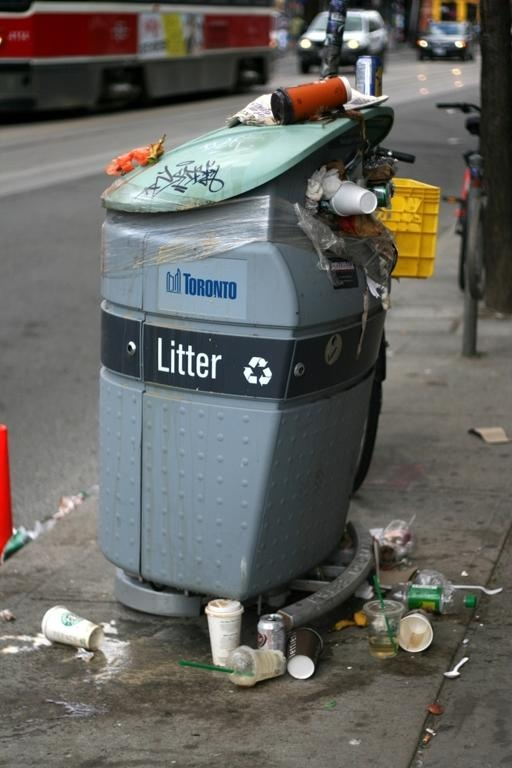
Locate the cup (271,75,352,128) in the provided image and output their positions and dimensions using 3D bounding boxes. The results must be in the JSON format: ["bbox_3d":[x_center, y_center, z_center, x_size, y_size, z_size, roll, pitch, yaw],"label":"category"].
[{"bbox_3d":[0.188,-0.901,2.809,0.294,0.119,0.126,-17,30,-29],"label":"cup"}]

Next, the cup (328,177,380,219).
[{"bbox_3d":[0.312,-0.566,2.805,0.141,0.117,0.122,12,-21,28],"label":"cup"}]

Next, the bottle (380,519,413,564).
[{"bbox_3d":[0.573,0.653,3.632,0.118,0.150,0.062,13,-2,36],"label":"bottle"}]

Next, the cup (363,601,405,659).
[{"bbox_3d":[0.416,0.799,2.878,0.176,0.168,0.161,-1,-8,0],"label":"cup"}]

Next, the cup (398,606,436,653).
[{"bbox_3d":[0.527,0.795,2.873,0.117,0.114,0.089,3,13,18],"label":"cup"}]

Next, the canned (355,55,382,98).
[{"bbox_3d":[0.423,-1.166,3.338,0.101,0.173,0.251,-1,13,6],"label":"canned"}]

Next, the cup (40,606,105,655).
[{"bbox_3d":[-0.647,0.827,2.969,0.303,0.121,0.085,6,16,33],"label":"cup"}]
